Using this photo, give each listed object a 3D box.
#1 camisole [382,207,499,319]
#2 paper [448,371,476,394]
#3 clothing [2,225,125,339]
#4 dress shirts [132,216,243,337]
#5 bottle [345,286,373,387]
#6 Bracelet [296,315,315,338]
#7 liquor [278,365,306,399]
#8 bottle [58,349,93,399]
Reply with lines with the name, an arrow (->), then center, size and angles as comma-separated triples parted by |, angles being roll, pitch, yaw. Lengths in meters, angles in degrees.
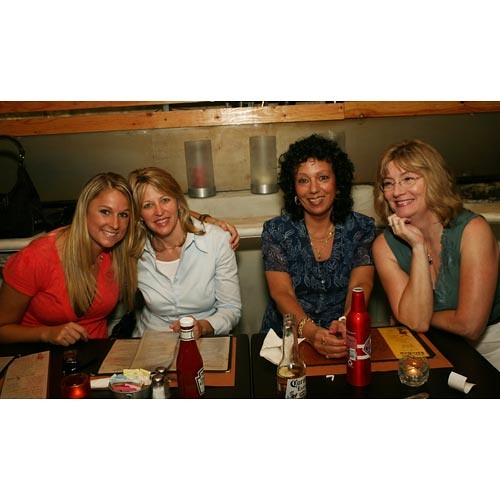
camisole -> 0.706, 0.075, 1.531 | 0.411, 0.412, 0.252 | -3, 17, 3
paper -> 0.514, 0.316, 1.036 | 0.067, 0.033, 0.055 | -10, 17, -23
clothing -> -0.671, 0.130, 1.581 | 0.248, 0.389, 0.460 | 35, 25, 33
dress shirts -> -0.250, 0.101, 1.663 | 0.538, 0.420, 0.287 | 0, 13, 6
bottle -> 0.261, 0.210, 1.045 | 0.058, 0.257, 0.093 | 0, 18, 14
Bracelet -> 0.173, 0.245, 1.367 | 0.054, 0.023, 0.064 | -3, 18, 0
liquor -> 0.089, 0.311, 1.039 | 0.078, 0.067, 0.078 | -1, 6, 0
bottle -> -0.443, 0.333, 1.124 | 0.073, 0.107, 0.119 | -1, 2, -10
